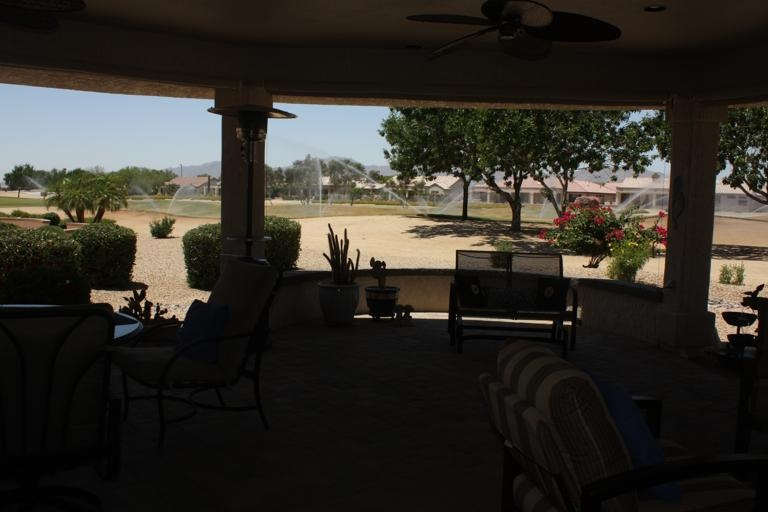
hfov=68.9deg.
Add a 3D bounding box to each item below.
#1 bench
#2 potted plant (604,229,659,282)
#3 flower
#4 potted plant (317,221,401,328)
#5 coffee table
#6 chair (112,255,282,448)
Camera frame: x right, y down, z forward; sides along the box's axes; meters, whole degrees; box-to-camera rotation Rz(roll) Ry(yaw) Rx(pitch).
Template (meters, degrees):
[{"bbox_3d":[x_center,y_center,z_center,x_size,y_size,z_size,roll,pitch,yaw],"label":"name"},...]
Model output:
[{"bbox_3d":[1.408,0.451,6.357,1.644,1.234,1.088,0,1,4],"label":"bench"},{"bbox_3d":[4.557,-0.038,10.447,0.958,0.557,0.942,2,3,-41],"label":"potted plant"},{"bbox_3d":[4.575,-0.532,11.756,1.863,1.183,1.652,0,7,6],"label":"flower"},{"bbox_3d":[-0.377,0.231,7.064,0.915,1.193,0.529,-2,8,-20],"label":"potted plant"},{"bbox_3d":[1.496,0.862,6.390,1.035,0.396,0.804,1,9,4],"label":"coffee table"},{"bbox_3d":[-1.380,0.656,4.139,1.078,1.171,0.993,-6,10,-41],"label":"chair"}]
